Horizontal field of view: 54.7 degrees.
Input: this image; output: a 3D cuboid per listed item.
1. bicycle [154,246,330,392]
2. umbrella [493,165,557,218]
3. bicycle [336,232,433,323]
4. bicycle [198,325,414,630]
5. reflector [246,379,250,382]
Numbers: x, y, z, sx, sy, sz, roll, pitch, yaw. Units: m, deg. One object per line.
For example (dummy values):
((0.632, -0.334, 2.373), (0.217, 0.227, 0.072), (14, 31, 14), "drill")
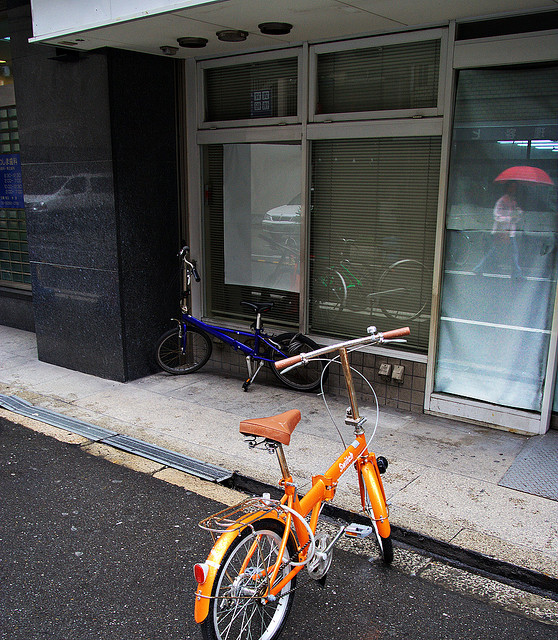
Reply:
((-0.411, 0.017, 6.228), (2.191, 1.374, 0.775), (4, 13, 23), "bicycle")
((2.035, -1.078, 4.535), (0.412, 0.368, 0.396), (-2, 12, -15), "umbrella")
((1.204, -0.405, 5.684), (1.053, 0.608, 0.522), (20, 27, 40), "bicycle")
((0.244, 0.960, 3.507), (0.876, 1.300, 1.806), (6, 22, 34), "bicycle")
((-0.346, 0.675, 6.038), (0.009, 0.035, 0.038), (30, -15, 1), "reflector")
